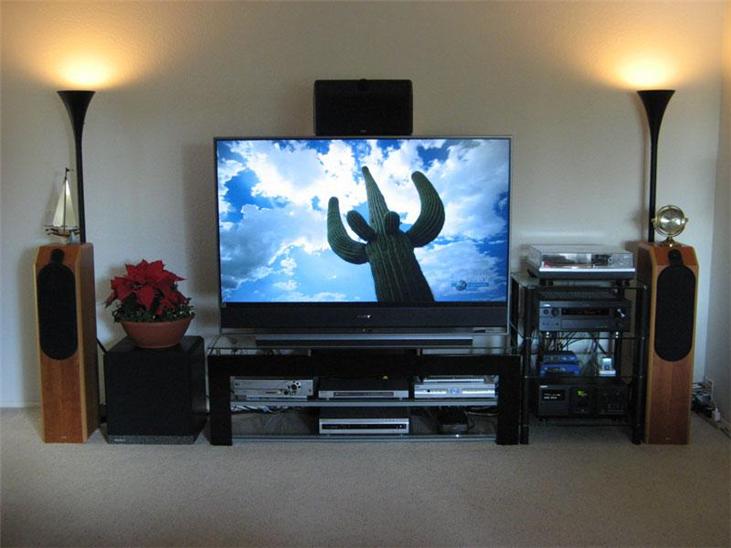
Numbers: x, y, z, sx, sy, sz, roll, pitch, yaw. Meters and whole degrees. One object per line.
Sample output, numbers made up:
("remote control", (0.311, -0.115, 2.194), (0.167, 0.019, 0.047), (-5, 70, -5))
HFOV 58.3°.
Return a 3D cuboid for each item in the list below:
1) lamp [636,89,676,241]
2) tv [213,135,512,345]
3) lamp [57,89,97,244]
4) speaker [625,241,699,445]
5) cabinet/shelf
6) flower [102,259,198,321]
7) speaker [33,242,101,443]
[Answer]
("lamp", (1.845, -0.703, 4.182), (0.219, 0.975, 0.309), (1, 5, 24))
("tv", (-0.013, -0.261, 3.924), (1.312, 0.865, 0.027), (0, 5, -1))
("lamp", (-1.832, -0.693, 4.198), (0.199, 0.971, 0.340), (-3, 5, -22))
("speaker", (1.814, 0.412, 3.972), (0.322, 1.212, 0.219), (1, 5, 23))
("cabinet/shelf", (1.462, 0.467, 4.181), (0.780, 0.947, 0.770), (-6, 4, 32))
("flower", (-1.366, 0.070, 3.969), (0.369, 0.201, 0.389), (11, 2, 4))
("speaker", (-1.836, 0.419, 4.043), (0.336, 1.218, 0.232), (-3, 5, -26))
